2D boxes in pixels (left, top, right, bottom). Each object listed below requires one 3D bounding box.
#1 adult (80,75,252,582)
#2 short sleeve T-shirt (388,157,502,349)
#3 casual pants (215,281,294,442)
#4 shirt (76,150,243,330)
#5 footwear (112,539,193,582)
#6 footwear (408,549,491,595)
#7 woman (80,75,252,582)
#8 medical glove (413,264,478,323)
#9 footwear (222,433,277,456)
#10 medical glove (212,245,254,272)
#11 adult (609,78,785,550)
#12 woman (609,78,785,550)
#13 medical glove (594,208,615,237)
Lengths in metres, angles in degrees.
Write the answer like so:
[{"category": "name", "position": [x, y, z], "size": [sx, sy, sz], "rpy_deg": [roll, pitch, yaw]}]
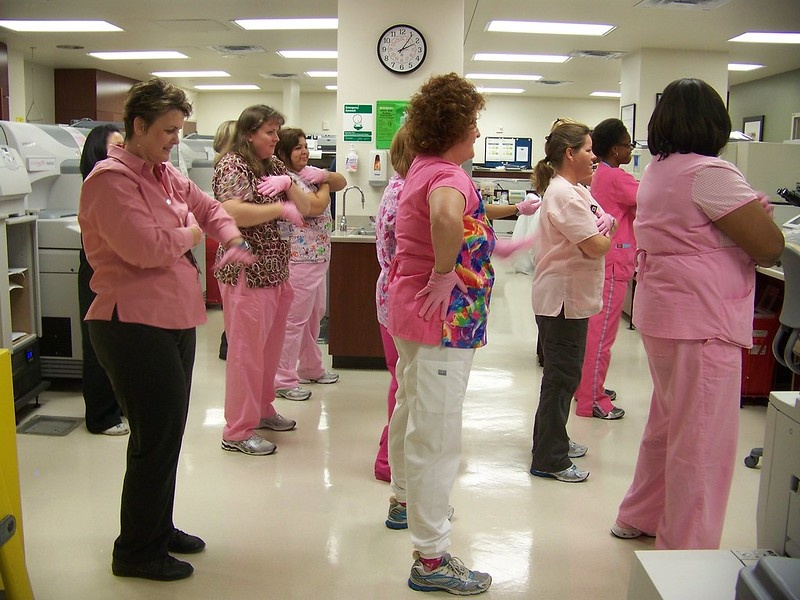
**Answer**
[{"category": "adult", "position": [-0.944, 0.116, 2.585], "size": [0.614, 1.858, 0.594], "rpy_deg": [0, 4, -7]}, {"category": "short sleeve T-shirt", "position": [0.214, -0.109, 2.716], "size": [0.550, 0.972, 0.902], "rpy_deg": [0, 5, -4]}, {"category": "casual pants", "position": [-0.843, 0.276, 3.622], "size": [0.368, 1.118, 0.486], "rpy_deg": [0, 9, 3]}, {"category": "shirt", "position": [-0.945, -0.240, 2.594], "size": [0.621, 0.730, 0.594], "rpy_deg": [0, 5, 8]}, {"category": "footwear", "position": [-1.000, 1.092, 2.591], "size": [0.354, 0.158, 0.123], "rpy_deg": [4, 1, -6]}, {"category": "footwear", "position": [0.193, 1.103, 2.529], "size": [0.359, 0.173, 0.142], "rpy_deg": [2, -2, -3]}, {"category": "woman", "position": [-0.940, 0.113, 2.551], "size": [0.653, 1.891, 0.631], "rpy_deg": [1, 3, 11]}, {"category": "medical glove", "position": [0.128, -0.016, 2.239], "size": [0.144, 0.192, 0.080], "rpy_deg": [1, 13, -2]}, {"category": "footwear", "position": [-0.860, 0.836, 3.530], "size": [0.289, 0.129, 0.122], "rpy_deg": [3, 2, 4]}, {"category": "medical glove", "position": [-0.686, -0.177, 2.570], "size": [0.138, 0.106, 0.066], "rpy_deg": [-25, 38, 26]}, {"category": "adult", "position": [1.121, 0.159, 2.448], "size": [0.545, 1.993, 0.437], "rpy_deg": [10, 15, 32]}, {"category": "woman", "position": [1.121, 0.159, 2.448], "size": [0.545, 1.993, 0.437], "rpy_deg": [10, 15, 32]}, {"category": "medical glove", "position": [1.059, -0.379, 3.161], "size": [0.066, 0.145, 0.189], "rpy_deg": [-8, -9, 34]}]
